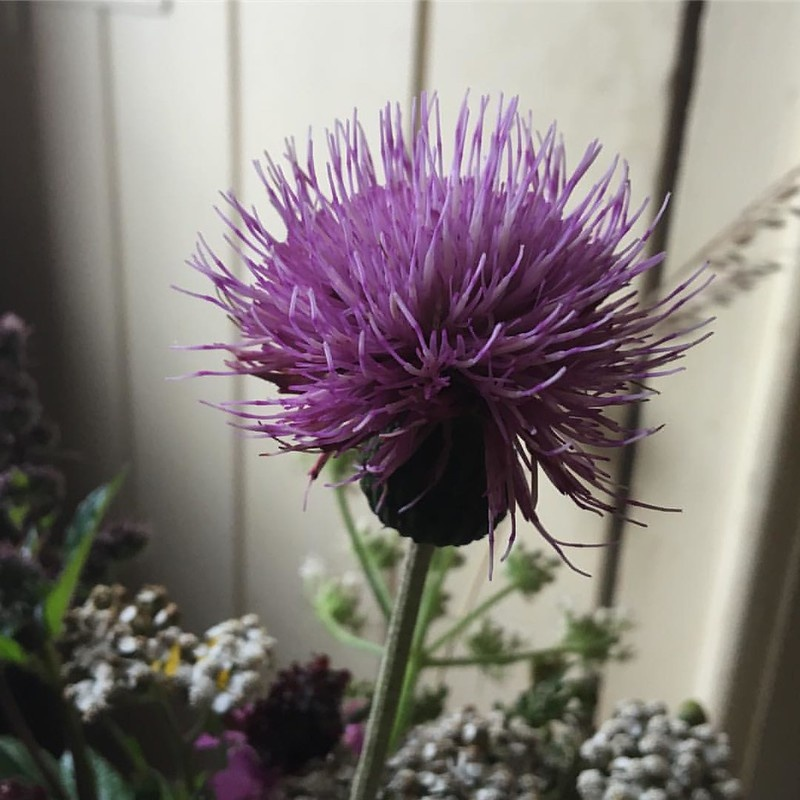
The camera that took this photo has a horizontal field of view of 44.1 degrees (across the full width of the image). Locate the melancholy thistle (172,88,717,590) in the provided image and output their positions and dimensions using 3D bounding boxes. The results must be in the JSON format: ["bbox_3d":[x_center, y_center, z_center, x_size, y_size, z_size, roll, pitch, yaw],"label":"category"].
[{"bbox_3d":[0.030,-0.043,0.740,0.415,0.276,0.359,2,0,-4],"label":"melancholy thistle"}]
